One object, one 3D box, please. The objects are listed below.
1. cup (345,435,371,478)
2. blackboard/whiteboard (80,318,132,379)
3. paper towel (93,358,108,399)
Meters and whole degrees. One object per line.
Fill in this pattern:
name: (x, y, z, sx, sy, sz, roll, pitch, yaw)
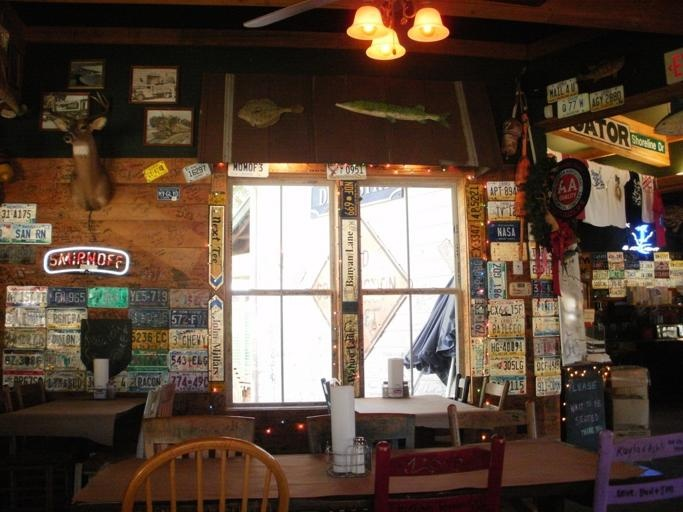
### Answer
cup: (0.111, 1.297, 4.949, 0.224, 0.192, 0.209, 0, -5, 0)
blackboard/whiteboard: (-2.236, 0.895, 7.114, 0.639, 0.667, 0.081, -1, -8, -6)
paper towel: (-2.224, 1.128, 6.993, 0.171, 0.363, 0.161, 1, -10, -22)
